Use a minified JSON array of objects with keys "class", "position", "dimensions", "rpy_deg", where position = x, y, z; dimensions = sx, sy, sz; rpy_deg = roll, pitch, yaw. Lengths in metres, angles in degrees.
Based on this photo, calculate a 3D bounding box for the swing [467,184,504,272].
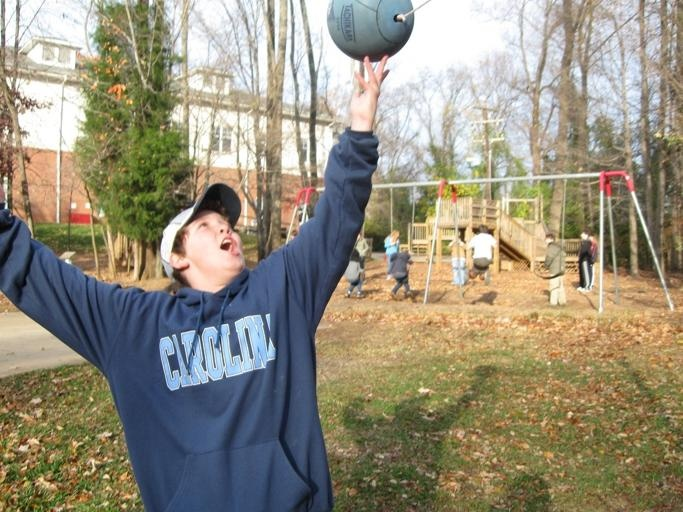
[{"class":"swing","position":[6.073,-1.106,24.379],"dimensions":[1.319,6.301,1.246],"rpy_deg":[1,5,5]}]

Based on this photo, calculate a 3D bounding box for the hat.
[{"class":"hat","position":[-0.855,-0.255,3.476],"dimensions":[0.327,0.762,0.376],"rpy_deg":[7,9,12]}]
